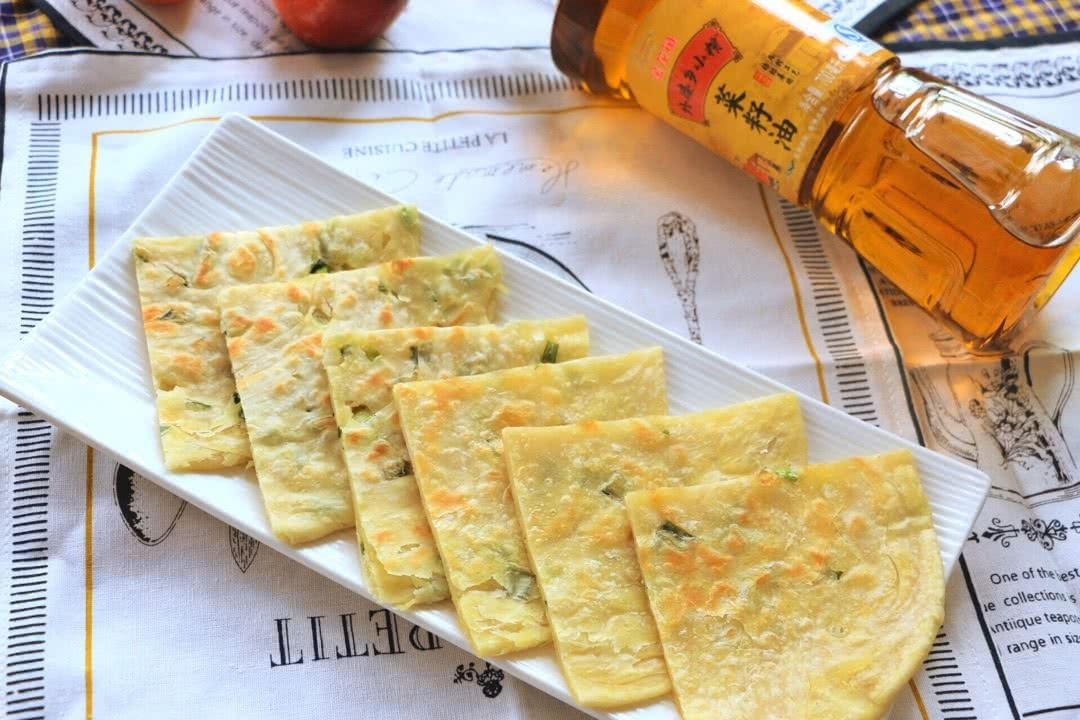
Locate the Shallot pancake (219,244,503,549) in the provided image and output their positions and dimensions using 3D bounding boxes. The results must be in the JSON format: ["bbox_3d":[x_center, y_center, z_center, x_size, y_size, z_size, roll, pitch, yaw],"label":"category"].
[{"bbox_3d":[-0.396,0.168,1.802,0.564,0.561,0.106,1,30,-41],"label":"Shallot pancake"}]

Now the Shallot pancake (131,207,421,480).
[{"bbox_3d":[-0.469,-0.101,1.803,0.456,0.122,0.465,-9,76,-3],"label":"Shallot pancake"}]
